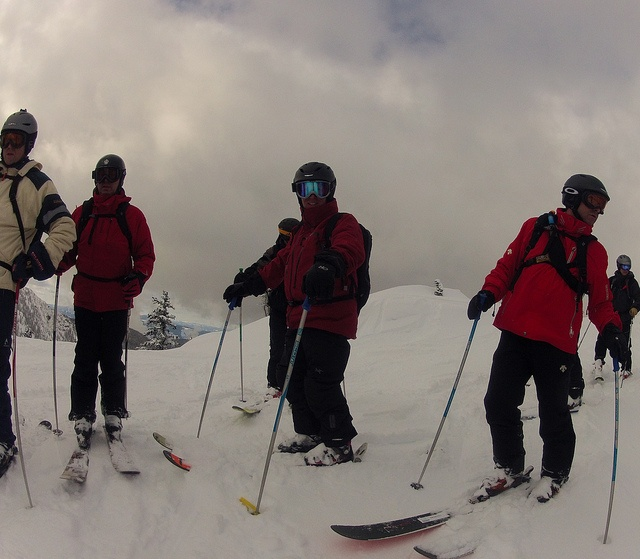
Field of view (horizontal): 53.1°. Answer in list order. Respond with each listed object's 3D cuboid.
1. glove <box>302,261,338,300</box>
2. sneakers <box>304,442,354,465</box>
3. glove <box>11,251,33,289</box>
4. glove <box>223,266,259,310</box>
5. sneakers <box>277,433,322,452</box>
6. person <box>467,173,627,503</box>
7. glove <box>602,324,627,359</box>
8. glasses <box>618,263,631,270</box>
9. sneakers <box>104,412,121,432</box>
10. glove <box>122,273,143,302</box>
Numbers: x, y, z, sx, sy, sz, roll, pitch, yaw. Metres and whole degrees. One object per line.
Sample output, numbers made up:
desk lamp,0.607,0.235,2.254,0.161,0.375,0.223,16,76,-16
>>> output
glove,0.035,0.018,5.973,0.494,0.273,0.411,5,18,4
sneakers,0.090,1.813,6.569,0.401,0.229,0.218,6,-14,-9
glove,-2.558,-0.086,5.474,0.217,0.365,0.164,11,11,38
glove,-0.845,0.104,6.889,0.146,0.379,0.294,31,9,-48
sneakers,-0.235,1.753,6.984,0.477,0.270,0.188,3,-5,-17
person,2.157,0.548,6.033,1.108,3.251,0.849,6,-7,33
glove,2.597,0.540,5.742,0.080,0.316,0.208,-9,-49,8
glasses,5.813,-0.241,12.249,0.155,0.135,0.219,2,-12,1
sneakers,-2.067,1.414,6.351,0.153,0.171,0.138,-18,-16,37
glove,-1.868,0.076,6.314,0.163,0.273,0.104,3,4,-10
